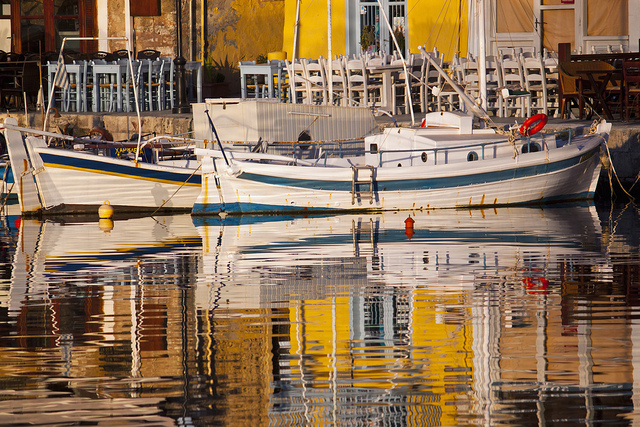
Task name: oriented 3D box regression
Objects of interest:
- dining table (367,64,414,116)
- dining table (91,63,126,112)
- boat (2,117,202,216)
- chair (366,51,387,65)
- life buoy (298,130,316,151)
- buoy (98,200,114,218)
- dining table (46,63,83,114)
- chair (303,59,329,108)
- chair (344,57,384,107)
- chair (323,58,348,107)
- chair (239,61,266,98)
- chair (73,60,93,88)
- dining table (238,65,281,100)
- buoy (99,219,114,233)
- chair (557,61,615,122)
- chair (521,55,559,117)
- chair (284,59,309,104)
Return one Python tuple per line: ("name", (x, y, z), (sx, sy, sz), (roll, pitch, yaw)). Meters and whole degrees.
("dining table", (1.421, -2.352, 33.463), (1.092, 0.956, 1.032), (-6, 14, -19))
("dining table", (-4.337, -2.487, 35.100), (0.931, 1.121, 0.874), (0, 4, 1))
("boat", (-3.687, -0.798, 30.294), (3.140, 1.254, 1.635), (0, 3, -15))
("chair", (1.087, -2.929, 34.188), (0.401, 0.215, 0.377), (0, 6, 4))
("life buoy", (-0.237, -1.236, 30.385), (0.270, 0.298, 0.118), (3, 14, -4))
("buoy", (-3.530, -0.075, 29.702), (0.238, 0.219, 0.223), (2, -7, -8))
("dining table", (-5.126, -2.566, 35.255), (0.910, 0.859, 0.874), (-4, 8, -5))
("chair", (0.025, -2.407, 33.468), (0.529, 0.657, 0.469), (10, 0, 3))
("chair", (0.824, -2.545, 33.487), (0.668, 0.797, 0.623), (-11, 13, -6))
("chair", (0.309, -2.416, 33.673), (0.529, 0.795, 0.531), (-2, -1, -4))
("chair", (-1.413, -2.617, 37.181), (0.404, 0.572, 0.374), (-12, 13, -4))
("chair", (-4.689, -2.785, 35.576), (0.351, 0.541, 1.002), (-4, 5, -7))
("dining table", (-1.215, -2.653, 34.964), (0.953, 0.783, 0.899), (0, 4, 9))
("buoy", (-3.442, 0.182, 28.981), (0.238, 0.206, 0.222), (-1, 13, -8))
("chair", (4.755, -2.135, 32.020), (1.029, 1.136, 1.265), (0, 6, 11))
("chair", (4.057, -2.228, 32.893), (0.685, 0.784, 0.592), (-3, 14, 0))
("chair", (-0.395, -2.477, 33.596), (0.474, 0.769, 0.470), (-2, 2, 8))
